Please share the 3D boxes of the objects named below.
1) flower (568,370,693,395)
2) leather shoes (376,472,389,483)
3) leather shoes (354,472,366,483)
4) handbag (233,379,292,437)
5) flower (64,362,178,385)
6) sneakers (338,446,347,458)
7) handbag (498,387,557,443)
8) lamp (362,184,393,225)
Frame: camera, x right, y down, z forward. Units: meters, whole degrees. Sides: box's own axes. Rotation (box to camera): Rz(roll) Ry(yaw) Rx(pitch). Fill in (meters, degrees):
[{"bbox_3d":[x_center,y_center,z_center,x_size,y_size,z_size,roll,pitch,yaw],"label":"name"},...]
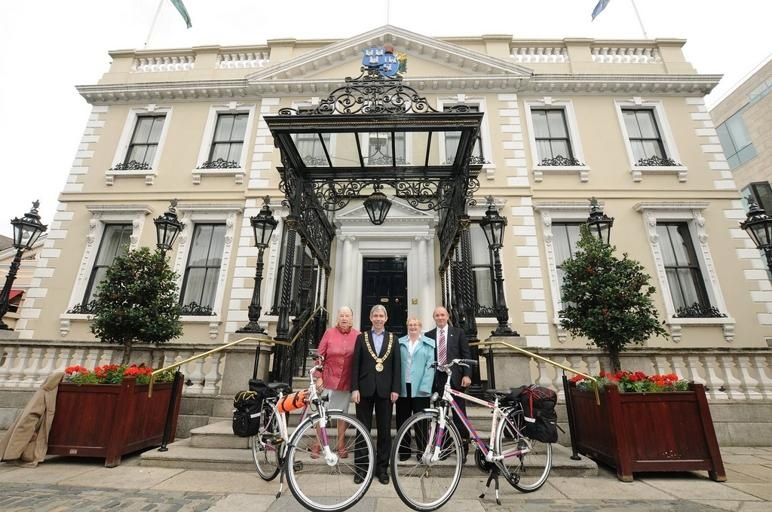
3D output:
[{"bbox_3d":[5.591,2.888,10.561,2.354,0.467,0.955,-7,-17,26],"label":"flower"},{"bbox_3d":[-0.080,4.672,9.703,0.291,0.247,0.229,1,-15,-1],"label":"leather shoes"},{"bbox_3d":[-0.544,4.477,9.252,0.192,0.183,0.304,3,-22,-6],"label":"leather shoes"},{"bbox_3d":[-2.742,3.378,10.353,1.418,1.198,1.077,13,-17,-41],"label":"handbag"},{"bbox_3d":[-6.494,2.766,10.746,1.932,0.422,0.741,6,-16,-20],"label":"flower"},{"bbox_3d":[-0.876,3.922,9.153,0.103,0.180,0.273,7,-7,-11],"label":"sneakers"},{"bbox_3d":[3.098,3.328,9.876,1.347,1.128,1.008,-7,-13,28],"label":"handbag"},{"bbox_3d":[-0.240,-1.472,12.520,0.584,1.087,0.682,-4,-16,17],"label":"lamp"}]
